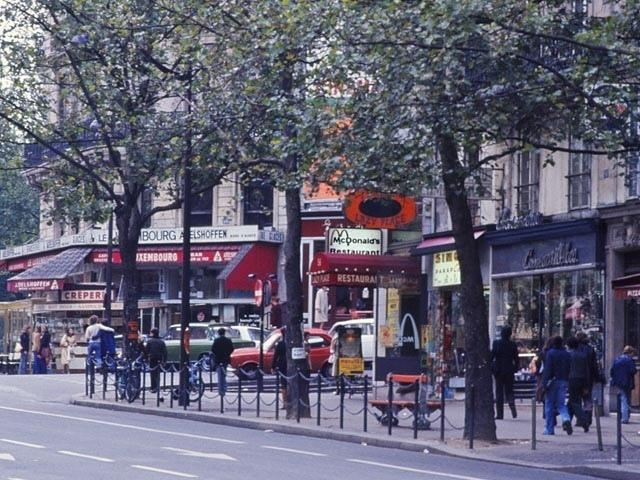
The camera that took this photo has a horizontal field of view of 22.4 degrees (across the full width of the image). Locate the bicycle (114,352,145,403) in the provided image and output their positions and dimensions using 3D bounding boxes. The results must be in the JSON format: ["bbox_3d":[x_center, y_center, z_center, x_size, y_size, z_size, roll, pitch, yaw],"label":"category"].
[{"bbox_3d":[-5.489,4.092,47.033,0.683,0.957,1.441,5,-7,-29],"label":"bicycle"}]

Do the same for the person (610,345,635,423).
[{"bbox_3d":[7.836,3.639,41.475,0.631,1.906,1.130,-2,-8,10],"label":"person"}]

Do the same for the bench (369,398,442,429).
[{"bbox_3d":[2.193,4.430,41.073,1.726,0.578,0.660,3,-9,3],"label":"bench"}]

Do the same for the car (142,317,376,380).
[{"bbox_3d":[-1.506,3.621,54.532,5.359,2.183,2.132,1,-2,-22],"label":"car"}]

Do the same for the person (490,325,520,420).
[{"bbox_3d":[5.014,3.555,43.486,0.811,2.569,0.684,-3,-4,28],"label":"person"}]

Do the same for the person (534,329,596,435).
[{"bbox_3d":[6.202,3.561,40.315,0.910,2.759,1.205,0,-2,13],"label":"person"}]
